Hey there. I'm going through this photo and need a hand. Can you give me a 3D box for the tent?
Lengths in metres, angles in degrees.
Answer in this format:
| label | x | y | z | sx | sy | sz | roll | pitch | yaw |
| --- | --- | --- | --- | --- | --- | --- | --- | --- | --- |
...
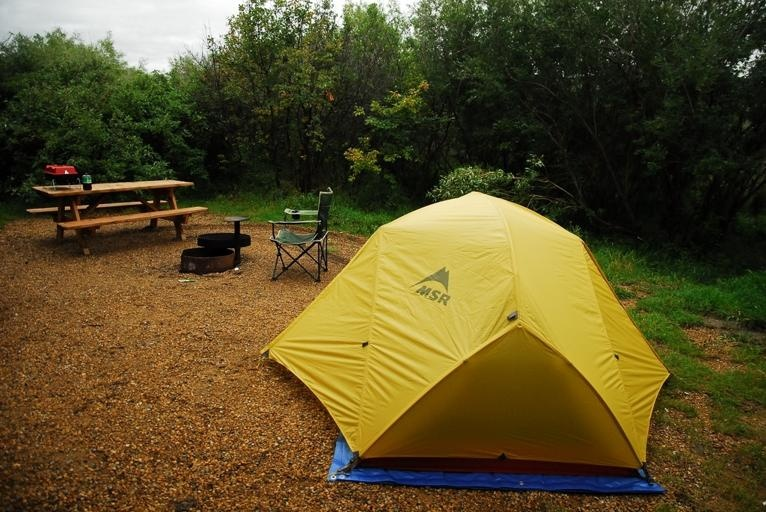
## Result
| label | x | y | z | sx | sy | sz | roll | pitch | yaw |
| --- | --- | --- | --- | --- | --- | --- | --- | --- | --- |
| tent | 1.337 | 1.091 | 8.291 | 5.016 | 3.156 | 1.921 | 2 | 17 | -1 |
